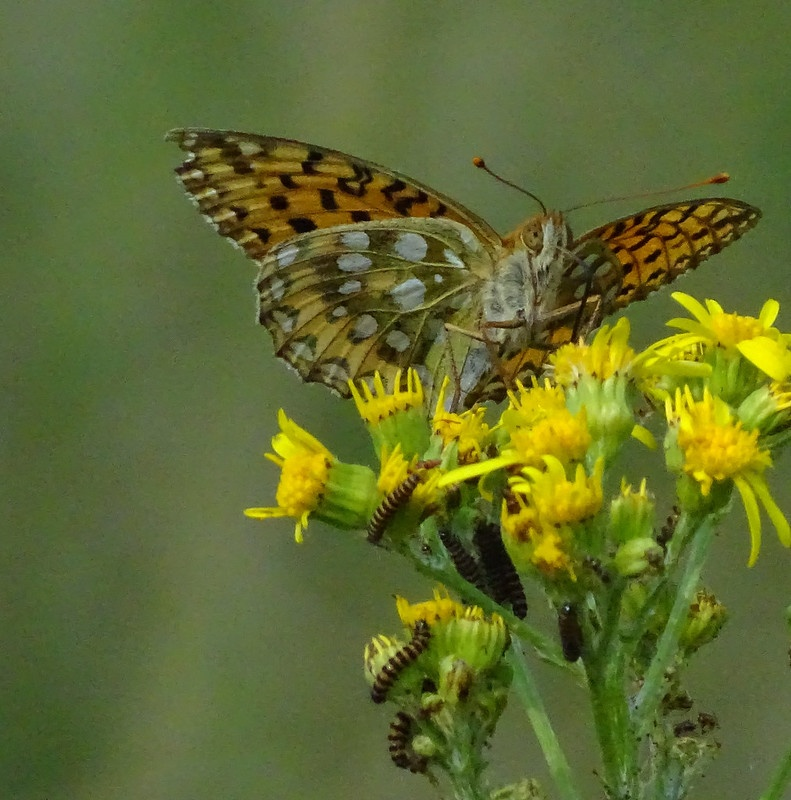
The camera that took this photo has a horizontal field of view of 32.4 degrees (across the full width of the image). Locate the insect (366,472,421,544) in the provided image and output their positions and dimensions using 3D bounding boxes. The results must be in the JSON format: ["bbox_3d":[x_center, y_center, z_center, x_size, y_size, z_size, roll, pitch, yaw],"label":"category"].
[{"bbox_3d":[-0.004,0.186,2.325,0.138,0.031,0.040,-53,-27,13],"label":"insect"}]

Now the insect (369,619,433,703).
[{"bbox_3d":[0.036,0.441,2.365,0.164,0.049,0.036,-52,1,36],"label":"insect"}]
